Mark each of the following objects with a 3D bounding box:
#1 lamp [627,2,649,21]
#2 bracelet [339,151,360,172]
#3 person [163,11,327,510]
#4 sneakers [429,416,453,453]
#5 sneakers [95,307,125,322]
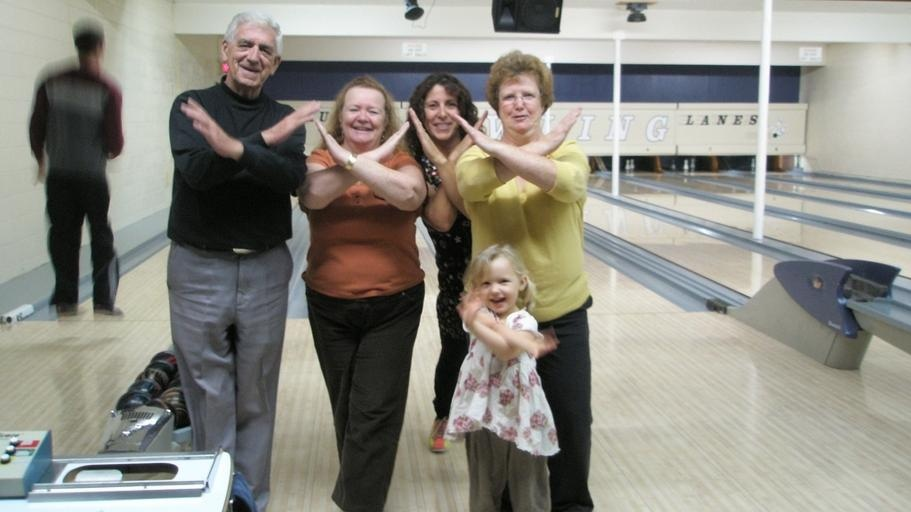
[{"bbox_3d":[2.770,-3.735,8.841,0.304,0.239,0.396,0,13,-1],"label":"lamp"},{"bbox_3d":[-0.558,-0.497,2.997,0.024,0.087,0.092,-2,45,-44],"label":"bracelet"},{"bbox_3d":[-1.143,0.086,3.098,0.748,2.707,0.578,-6,15,-26],"label":"person"},{"bbox_3d":[-0.098,1.163,3.726,0.115,0.134,0.327,0,1,-2],"label":"sneakers"},{"bbox_3d":[-3.000,0.490,4.988,0.216,0.139,0.072,-5,26,-28],"label":"sneakers"}]
